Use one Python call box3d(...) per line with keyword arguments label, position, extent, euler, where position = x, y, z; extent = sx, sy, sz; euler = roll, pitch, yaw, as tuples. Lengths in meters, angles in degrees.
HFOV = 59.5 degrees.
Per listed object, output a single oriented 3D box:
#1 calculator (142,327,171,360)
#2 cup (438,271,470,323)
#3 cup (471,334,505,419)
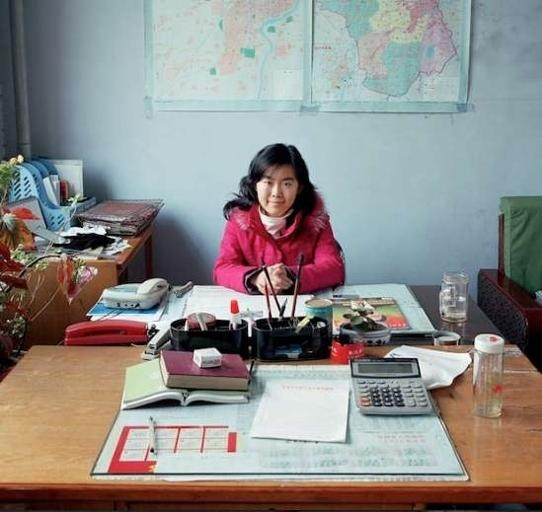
box3d(label="calculator", position=(-0.262, 0.199, 1.114), extent=(0.038, 0.039, 0.117), euler=(4, 16, 6))
box3d(label="cup", position=(0.526, 0.119, 1.415), extent=(0.101, 0.128, 0.099), euler=(2, 19, -1))
box3d(label="cup", position=(0.374, 0.223, 0.888), extent=(0.077, 0.142, 0.075), euler=(1, 19, 0))
